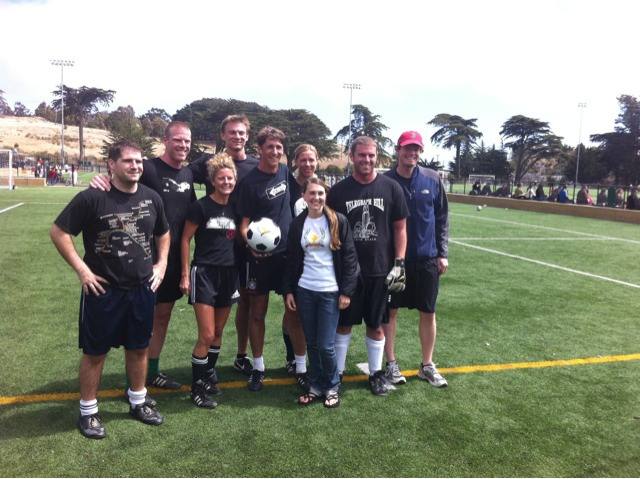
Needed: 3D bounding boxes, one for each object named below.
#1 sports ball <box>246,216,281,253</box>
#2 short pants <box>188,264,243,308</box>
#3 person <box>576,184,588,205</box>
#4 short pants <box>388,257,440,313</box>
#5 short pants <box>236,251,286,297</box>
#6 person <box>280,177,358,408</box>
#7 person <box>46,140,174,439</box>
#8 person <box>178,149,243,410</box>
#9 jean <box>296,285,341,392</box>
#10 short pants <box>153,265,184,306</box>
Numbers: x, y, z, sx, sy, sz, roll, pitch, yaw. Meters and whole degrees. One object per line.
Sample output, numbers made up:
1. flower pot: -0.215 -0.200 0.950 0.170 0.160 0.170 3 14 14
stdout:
1. sports ball: -0.623 -0.089 5.706 0.336 0.414 0.342 19 5 -2
2. short pants: -1.074 0.480 5.527 0.693 0.566 0.384 5 -9 -39
3. person: 14.415 -2.509 28.416 0.523 1.008 1.133 6 11 27
4. short pants: 1.046 0.481 5.793 0.530 0.775 0.273 2 -9 4
5. short pants: -0.640 0.370 5.885 0.706 0.689 0.420 1 -4 -15
6. person: 0.002 0.543 5.410 0.770 2.317 0.475 2 9 3
7. person: -1.906 0.440 4.888 1.036 2.711 0.531 -4 10 -29
8. person: -1.108 0.397 5.420 0.597 2.550 0.616 -3 10 -23
9. jean: -0.015 1.043 5.433 0.472 1.091 0.215 1 9 0
10. short pants: -1.601 0.495 5.562 0.271 0.464 0.259 -2 10 -18
